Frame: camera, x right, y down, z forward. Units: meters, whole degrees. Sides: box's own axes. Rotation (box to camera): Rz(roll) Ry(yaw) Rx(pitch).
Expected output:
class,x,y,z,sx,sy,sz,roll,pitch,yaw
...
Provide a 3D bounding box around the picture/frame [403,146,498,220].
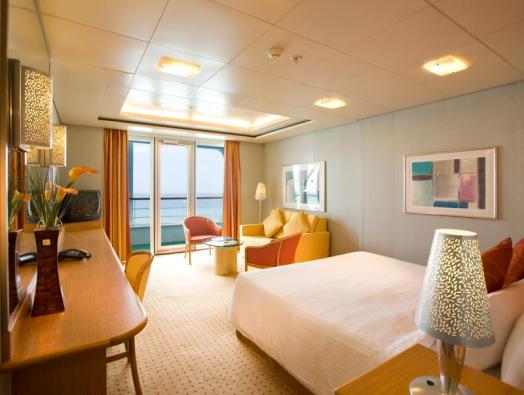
class,x,y,z,sx,sy,sz,roll,pitch,yaw
picture/frame,2.411,-0.181,4.431,0.033,0.755,0.933,2,-2,-34

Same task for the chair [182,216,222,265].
class,x,y,z,sx,sy,sz,roll,pitch,yaw
chair,-1.056,0.833,6.840,0.844,1.142,0.728,1,-2,-32

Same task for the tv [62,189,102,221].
class,x,y,z,sx,sy,sz,roll,pitch,yaw
tv,-2.341,0.115,4.590,0.222,0.427,0.438,0,-1,22

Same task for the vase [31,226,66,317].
class,x,y,z,sx,sy,sz,roll,pitch,yaw
vase,-1.389,0.507,2.280,0.246,0.533,0.227,-5,-24,-27

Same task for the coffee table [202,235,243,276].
class,x,y,z,sx,sy,sz,roll,pitch,yaw
coffee table,-0.622,0.930,5.710,0.512,0.400,0.543,0,2,20

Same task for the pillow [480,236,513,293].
class,x,y,z,sx,sy,sz,roll,pitch,yaw
pillow,1.862,0.534,2.788,0.338,0.349,0.099,-22,23,-33

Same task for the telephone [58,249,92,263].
class,x,y,z,sx,sy,sz,roll,pitch,yaw
telephone,-1.709,0.520,3.215,0.228,0.059,0.170,3,1,-21

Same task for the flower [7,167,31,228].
class,x,y,z,sx,sy,sz,roll,pitch,yaw
flower,-1.525,0.050,2.221,0.121,0.332,0.545,-6,10,-34

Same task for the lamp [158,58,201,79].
class,x,y,z,sx,sy,sz,roll,pitch,yaw
lamp,-0.887,-1.372,3.765,0.443,0.106,0.421,-3,9,-21

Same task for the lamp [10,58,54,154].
class,x,y,z,sx,sy,sz,roll,pitch,yaw
lamp,-1.363,-0.546,2.100,0.073,0.485,0.298,1,8,11

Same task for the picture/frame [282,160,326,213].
class,x,y,z,sx,sy,sz,roll,pitch,yaw
picture/frame,0.835,-0.201,6.775,0.037,0.770,0.995,2,-2,-30
